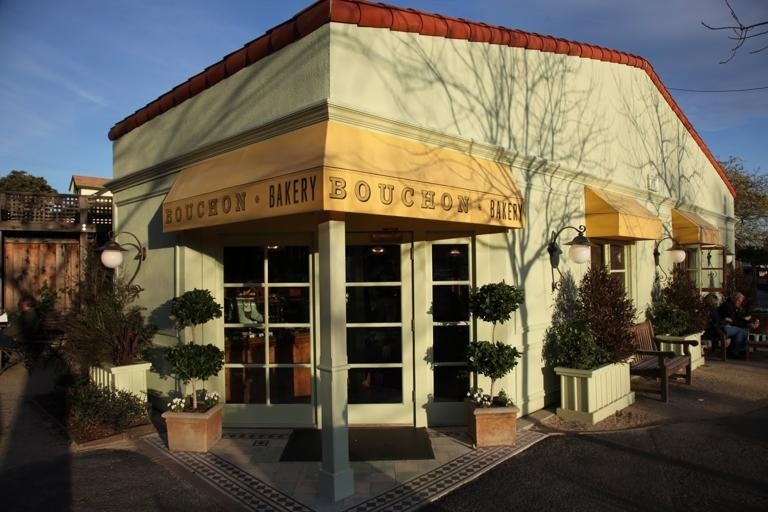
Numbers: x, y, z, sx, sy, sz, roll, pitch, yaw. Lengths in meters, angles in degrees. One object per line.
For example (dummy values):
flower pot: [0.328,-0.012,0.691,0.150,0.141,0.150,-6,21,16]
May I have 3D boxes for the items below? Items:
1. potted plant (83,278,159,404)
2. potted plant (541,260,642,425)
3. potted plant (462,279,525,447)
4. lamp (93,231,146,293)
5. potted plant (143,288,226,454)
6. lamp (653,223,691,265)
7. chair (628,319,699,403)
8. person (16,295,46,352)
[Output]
potted plant: [-5.626,2.092,13.331,0.741,1.917,1.325,3,-10,6]
potted plant: [4.391,1.880,13.525,1.967,3.320,1.177,3,-7,-31]
potted plant: [2.128,2.096,12.071,1.043,3.155,0.926,-1,-6,-3]
lamp: [-5.738,0.044,13.471,0.968,1.247,0.921,5,-1,-30]
potted plant: [-3.845,2.263,12.452,1.087,3.147,1.745,1,-7,-20]
lamp: [7.985,-0.343,17.297,0.946,1.422,0.654,-12,-26,27]
chair: [6.484,2.424,14.579,1.202,1.636,2.167,-3,-1,41]
person: [-8.791,1.762,15.448,0.584,1.416,1.427,2,-8,-30]
